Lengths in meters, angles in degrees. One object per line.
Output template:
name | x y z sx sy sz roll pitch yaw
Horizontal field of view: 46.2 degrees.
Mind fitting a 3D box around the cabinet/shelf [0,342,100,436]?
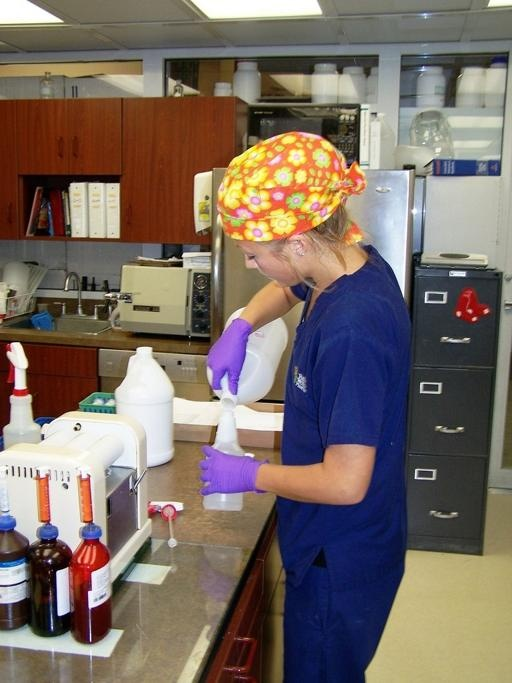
cabinet/shelf | -0.838 0.161 2.521 0.527 0.480 0.266 0 2 6

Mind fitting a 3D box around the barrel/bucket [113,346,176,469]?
barrel/bucket | -0.277 0.170 1.506 0.139 0.321 0.197 5 9 -2

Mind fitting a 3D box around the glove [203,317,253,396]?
glove | -0.057 0.040 1.408 0.097 0.156 0.160 7 29 11

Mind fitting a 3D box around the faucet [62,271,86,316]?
faucet | -1.262 -0.337 4.170 0.144 0.299 0.353 3 9 -17

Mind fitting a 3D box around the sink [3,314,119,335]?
sink | -1.332 -0.126 4.014 0.657 0.115 0.358 2 9 -21
